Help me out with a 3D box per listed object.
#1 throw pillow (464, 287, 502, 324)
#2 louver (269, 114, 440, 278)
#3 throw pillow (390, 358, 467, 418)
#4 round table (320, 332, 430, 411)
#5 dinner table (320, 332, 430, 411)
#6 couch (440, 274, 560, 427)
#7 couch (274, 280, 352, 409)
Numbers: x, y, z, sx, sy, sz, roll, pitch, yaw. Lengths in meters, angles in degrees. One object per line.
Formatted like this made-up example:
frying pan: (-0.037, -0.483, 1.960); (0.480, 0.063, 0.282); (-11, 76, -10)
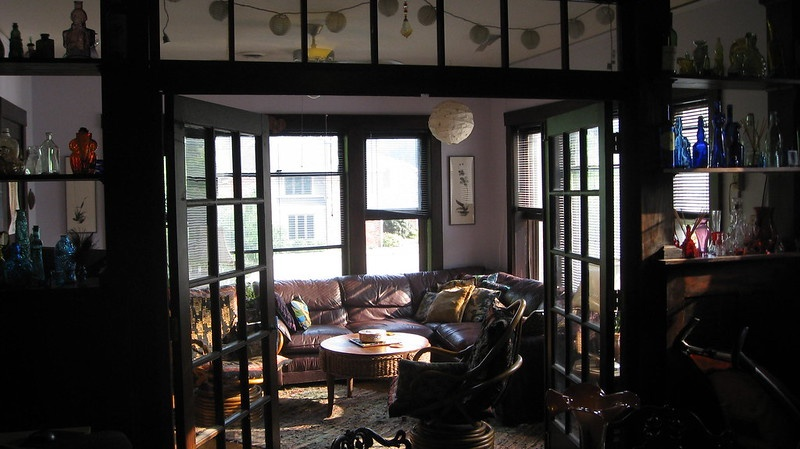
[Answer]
throw pillow: (0.921, 0.936, 7.061); (0.140, 0.405, 0.461); (30, -15, -31)
louver: (-0.657, -0.447, 7.761); (2.433, 2.325, 0.236); (0, 0, -20)
throw pillow: (0.173, 1.411, 5.045); (0.661, 0.608, 0.175); (-3, 32, -21)
round table: (-0.312, 1.652, 6.319); (1.016, 0.546, 0.976); (1, -11, 0)
dinner table: (-0.462, 1.609, 6.294); (1.215, 0.492, 1.197); (-3, -10, 30)
couch: (0.965, 1.392, 6.214); (1.220, 0.967, 2.136); (-1, -1, -2)
couch: (-1.044, 1.221, 7.102); (1.111, 0.943, 1.082); (1, 9, -11)
